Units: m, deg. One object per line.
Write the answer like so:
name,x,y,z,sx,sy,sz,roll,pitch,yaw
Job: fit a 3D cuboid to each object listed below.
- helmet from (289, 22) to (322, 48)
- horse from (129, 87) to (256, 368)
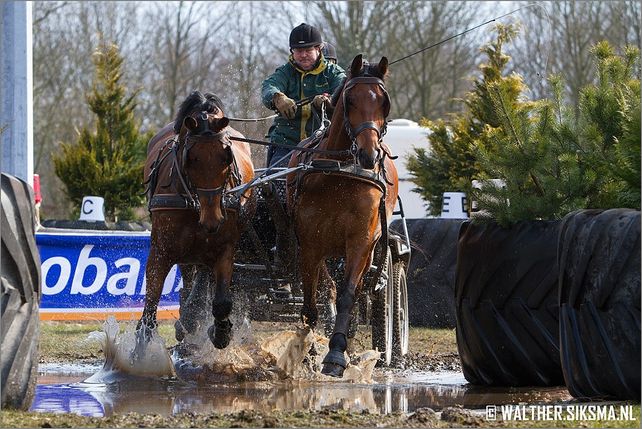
helmet,-0.258,-2.756,21.278,0.492,0.390,0.217,1,10,-2
horse,-2.124,-0.004,21.516,1.553,4.284,5.373,3,6,-11
